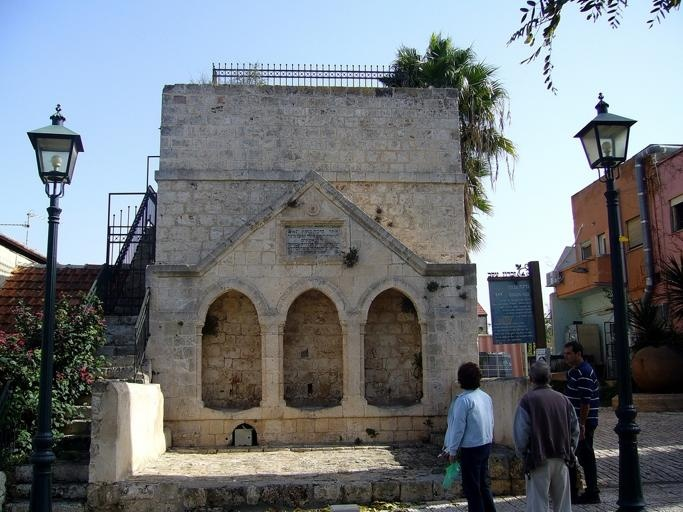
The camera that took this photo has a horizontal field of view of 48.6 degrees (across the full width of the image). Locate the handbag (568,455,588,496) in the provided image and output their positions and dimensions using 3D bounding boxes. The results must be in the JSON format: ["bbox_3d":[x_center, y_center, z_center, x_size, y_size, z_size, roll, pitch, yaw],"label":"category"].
[{"bbox_3d":[3.769,3.566,11.939,0.219,0.933,0.858,0,-10,22],"label":"handbag"}]
